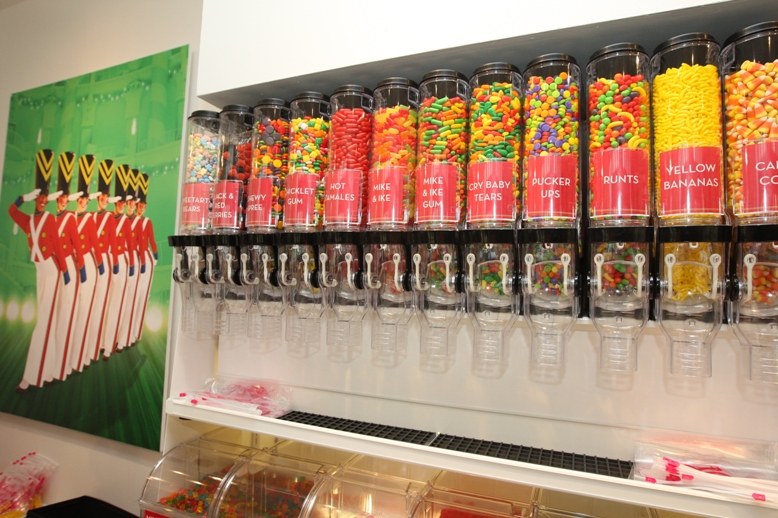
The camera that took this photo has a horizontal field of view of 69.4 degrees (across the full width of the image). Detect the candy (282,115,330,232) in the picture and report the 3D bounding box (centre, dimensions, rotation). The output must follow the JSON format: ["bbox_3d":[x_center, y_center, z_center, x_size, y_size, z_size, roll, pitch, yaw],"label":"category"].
[{"bbox_3d":[-0.302,-0.300,1.954,0.176,0.367,0.166,-2,9,-12],"label":"candy"}]

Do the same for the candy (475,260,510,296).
[{"bbox_3d":[0.322,0.063,1.754,0.108,0.103,0.104,3,-8,-13],"label":"candy"}]

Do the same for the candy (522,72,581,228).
[{"bbox_3d":[0.502,-0.347,1.745,0.167,0.462,0.156,2,11,13],"label":"candy"}]

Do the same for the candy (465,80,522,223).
[{"bbox_3d":[0.345,-0.337,1.837,0.144,0.428,0.194,0,-3,22],"label":"candy"}]

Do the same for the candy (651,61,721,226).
[{"bbox_3d":[0.887,-0.350,1.674,0.180,0.461,0.169,2,11,9],"label":"candy"}]

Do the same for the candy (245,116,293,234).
[{"bbox_3d":[-0.426,-0.298,2.013,0.157,0.386,0.133,5,6,38],"label":"candy"}]
